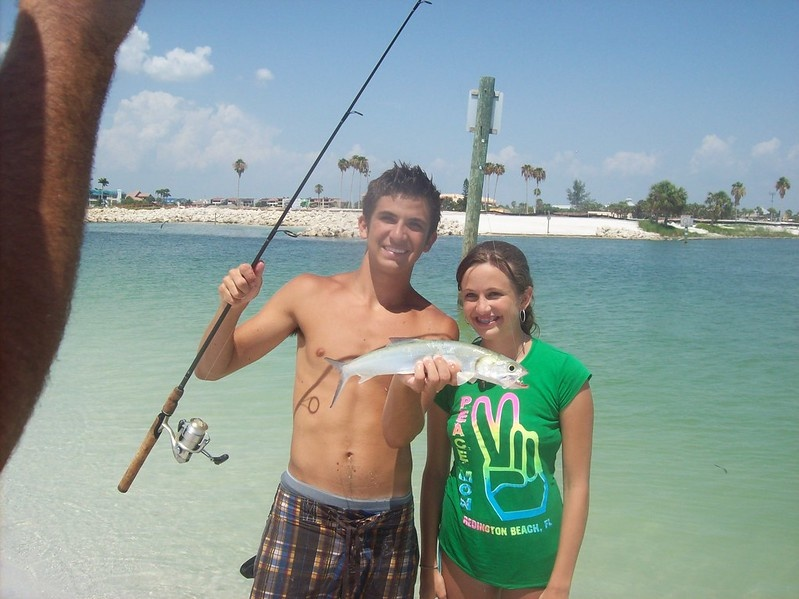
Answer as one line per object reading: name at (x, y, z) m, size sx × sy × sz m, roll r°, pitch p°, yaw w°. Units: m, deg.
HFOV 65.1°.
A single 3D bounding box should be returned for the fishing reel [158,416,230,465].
fishing reel at (-0.848, 0.600, 2.670) m, size 0.289 × 0.135 × 0.123 m, roll 22°, pitch 2°, yaw 32°
